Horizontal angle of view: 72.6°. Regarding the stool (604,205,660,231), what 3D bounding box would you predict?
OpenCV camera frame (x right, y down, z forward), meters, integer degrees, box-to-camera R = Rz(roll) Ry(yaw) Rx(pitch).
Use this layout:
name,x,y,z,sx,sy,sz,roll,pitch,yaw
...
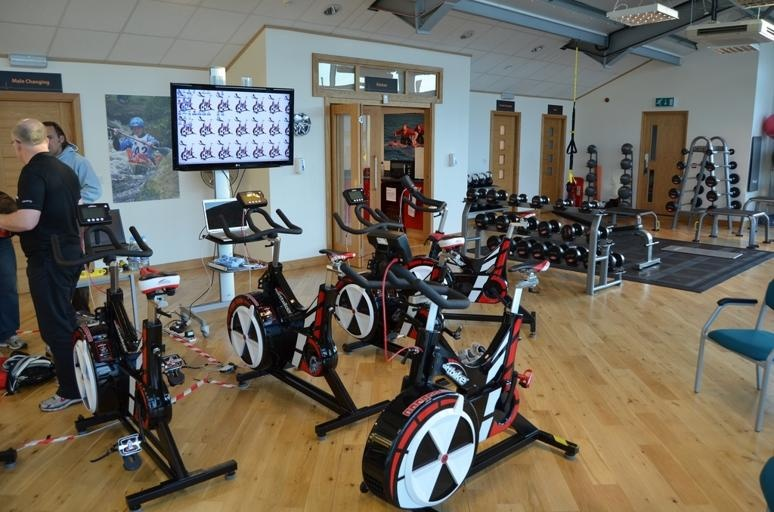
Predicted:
name,x,y,z,sx,sy,sz,roll,pitch,yaw
stool,4.958,-0.768,10.677,0.721,0.307,0.936,10,15,43

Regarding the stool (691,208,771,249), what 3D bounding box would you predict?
name,x,y,z,sx,sy,sz,roll,pitch,yaw
stool,6.817,-0.539,10.384,1.051,0.624,1.528,-9,14,-33

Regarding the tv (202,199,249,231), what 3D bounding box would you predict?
name,x,y,z,sx,sy,sz,roll,pitch,yaw
tv,-1.868,-0.506,6.159,0.631,0.405,0.532,-7,13,-42

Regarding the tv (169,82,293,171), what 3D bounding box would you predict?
name,x,y,z,sx,sy,sz,roll,pitch,yaw
tv,-1.880,-1.583,6.481,1.455,1.010,0.189,-8,12,-33
